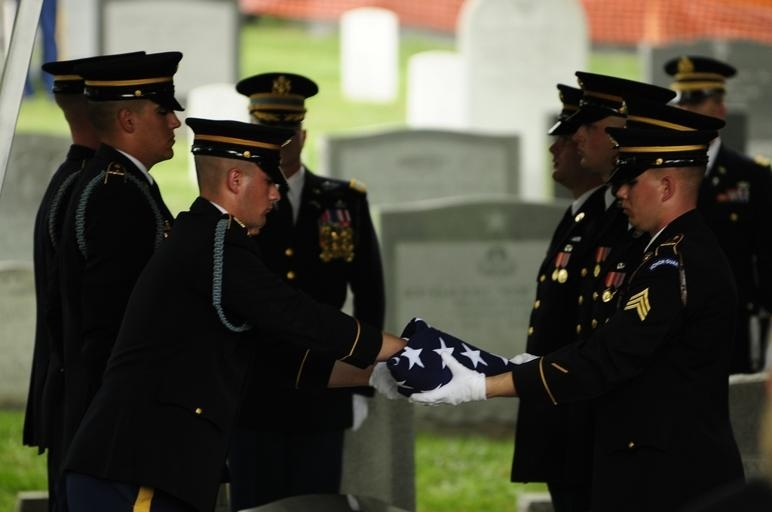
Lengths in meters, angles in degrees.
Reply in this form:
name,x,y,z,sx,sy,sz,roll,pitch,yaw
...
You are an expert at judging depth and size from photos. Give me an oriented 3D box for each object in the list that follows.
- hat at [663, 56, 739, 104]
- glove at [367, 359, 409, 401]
name,x,y,z,sx,sy,sz,roll,pitch,yaw
hat,1.831,-1.034,10.283,0.400,0.164,0.349,4,-4,-32
glove,0.014,0.618,8.812,0.200,0.122,0.211,6,8,3
